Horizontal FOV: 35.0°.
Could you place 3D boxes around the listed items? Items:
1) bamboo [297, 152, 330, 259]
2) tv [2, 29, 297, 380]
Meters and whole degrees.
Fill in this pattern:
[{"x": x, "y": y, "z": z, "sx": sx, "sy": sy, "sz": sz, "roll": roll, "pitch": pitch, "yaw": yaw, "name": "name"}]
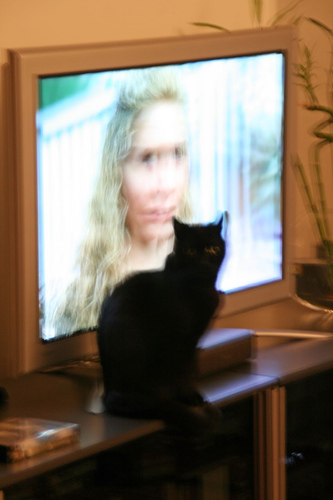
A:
[{"x": 0.371, "y": -0.107, "z": 1.361, "sx": 0.077, "sy": 0.264, "sz": 0.031, "roll": -2, "pitch": -3, "yaw": -27, "name": "bamboo"}, {"x": -0.039, "y": -0.090, "z": 0.956, "sx": 0.813, "sy": 0.568, "sz": 0.061, "roll": -10, "pitch": 13, "yaw": -41, "name": "tv"}]
